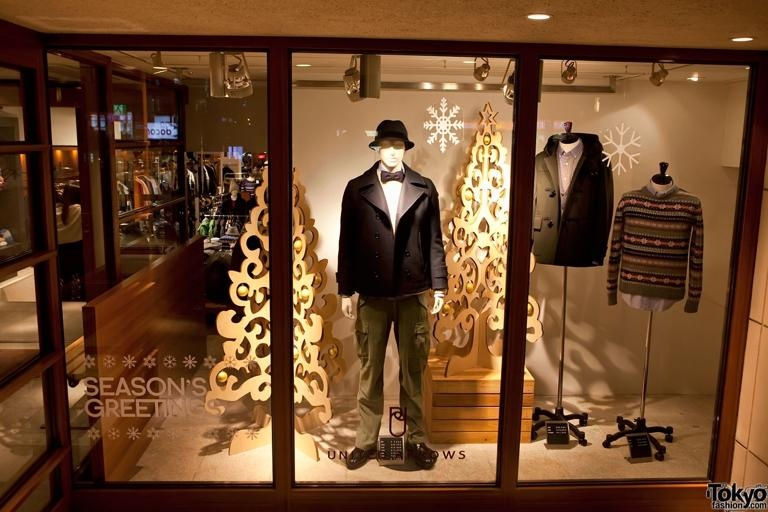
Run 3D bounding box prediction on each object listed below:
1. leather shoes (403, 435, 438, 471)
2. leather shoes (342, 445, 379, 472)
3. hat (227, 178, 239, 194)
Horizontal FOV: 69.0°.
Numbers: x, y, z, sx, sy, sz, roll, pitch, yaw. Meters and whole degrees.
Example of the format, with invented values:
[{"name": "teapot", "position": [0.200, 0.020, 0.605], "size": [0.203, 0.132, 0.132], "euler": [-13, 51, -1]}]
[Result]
[{"name": "leather shoes", "position": [0.228, 1.245, 3.537], "size": [0.130, 0.100, 0.231], "euler": [-14, 19, -39]}, {"name": "leather shoes", "position": [-0.146, 1.257, 3.524], "size": [0.215, 0.092, 0.089], "euler": [-19, 38, -29]}, {"name": "hat", "position": [-0.869, -0.401, 3.237], "size": [0.079, 0.117, 0.063], "euler": [1, -6, -12]}]
